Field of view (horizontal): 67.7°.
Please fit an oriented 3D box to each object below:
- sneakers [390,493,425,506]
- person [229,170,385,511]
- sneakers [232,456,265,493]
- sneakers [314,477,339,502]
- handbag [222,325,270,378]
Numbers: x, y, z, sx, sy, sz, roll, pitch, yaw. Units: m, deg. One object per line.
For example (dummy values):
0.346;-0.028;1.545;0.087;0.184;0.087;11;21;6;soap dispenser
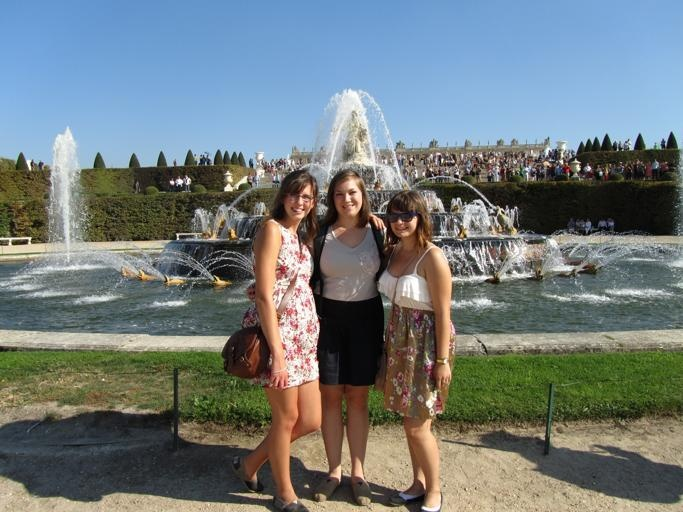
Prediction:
0.496;1.847;3.912;0.266;0.094;0.098;5;-11;-6;sneakers
-0.465;0.644;3.887;0.658;2.541;0.846;4;16;15;person
-0.734;1.750;3.994;0.101;0.367;0.136;-32;-5;15;sneakers
-0.117;1.802;3.951;0.104;0.085;0.221;12;0;29;sneakers
-0.724;0.700;3.742;0.378;0.359;0.205;-15;-18;38;handbag
